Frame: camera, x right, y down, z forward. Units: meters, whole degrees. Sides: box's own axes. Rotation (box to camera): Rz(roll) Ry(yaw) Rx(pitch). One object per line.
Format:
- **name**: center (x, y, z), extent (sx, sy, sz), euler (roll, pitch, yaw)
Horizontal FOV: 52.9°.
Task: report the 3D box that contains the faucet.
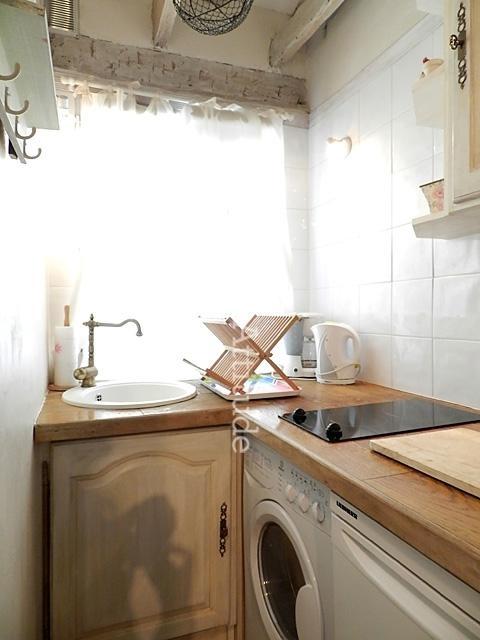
- **faucet**: center (-0.473, 0.102, 1.874), extent (0.244, 0.302, 0.268), euler (-1, 0, -4)
